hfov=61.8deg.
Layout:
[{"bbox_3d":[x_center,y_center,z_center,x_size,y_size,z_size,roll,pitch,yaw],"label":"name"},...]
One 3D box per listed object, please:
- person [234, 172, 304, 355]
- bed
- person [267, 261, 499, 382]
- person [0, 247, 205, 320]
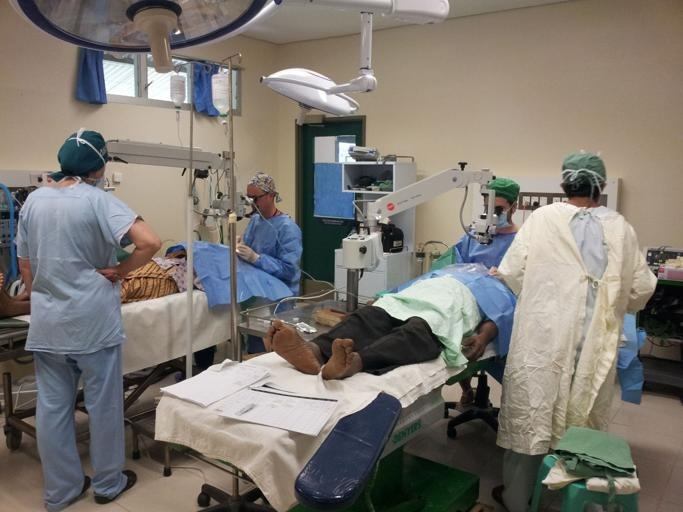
[{"bbox_3d":[-0.611,0.225,4.439,0.581,1.614,0.547,18,25,41],"label":"person"},{"bbox_3d":[-0.155,0.549,2.404,1.237,0.319,1.272,-1,-1,42],"label":"bed"},{"bbox_3d":[0.435,0.355,3.167,0.796,0.432,1.637,3,11,41],"label":"person"},{"bbox_3d":[-1.420,0.010,3.352,0.543,0.233,0.864,3,13,43],"label":"person"}]
